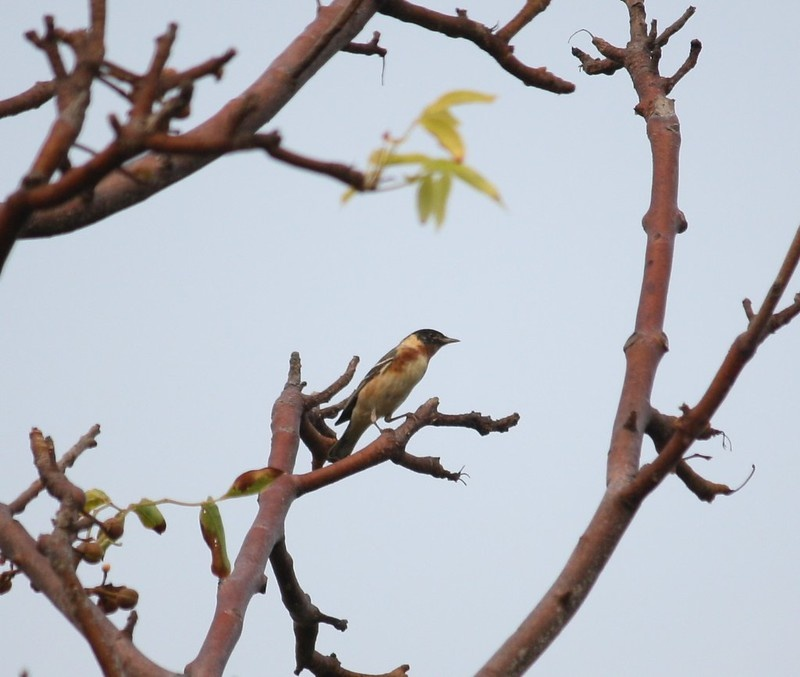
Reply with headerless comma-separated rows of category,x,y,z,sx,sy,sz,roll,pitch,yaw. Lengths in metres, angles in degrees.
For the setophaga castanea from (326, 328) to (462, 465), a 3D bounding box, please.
setophaga castanea,-0.075,0.252,7.510,0.638,0.588,0.281,-11,-19,23
